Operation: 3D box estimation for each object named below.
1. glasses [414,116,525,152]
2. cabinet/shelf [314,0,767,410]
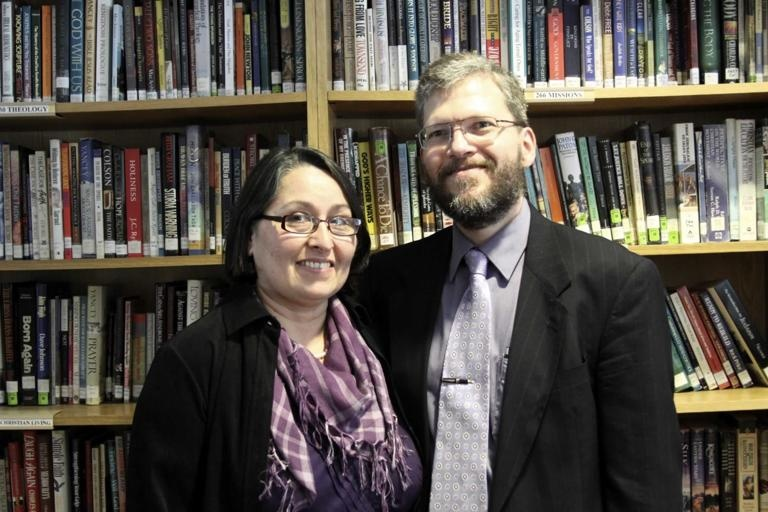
[{"bbox_3d":[0.315,-0.450,2.723,0.368,0.101,0.073,-4,-8,6],"label":"glasses"},{"bbox_3d":[0.591,-0.222,2.900,1.727,1.560,0.517,0,-5,0],"label":"cabinet/shelf"}]
